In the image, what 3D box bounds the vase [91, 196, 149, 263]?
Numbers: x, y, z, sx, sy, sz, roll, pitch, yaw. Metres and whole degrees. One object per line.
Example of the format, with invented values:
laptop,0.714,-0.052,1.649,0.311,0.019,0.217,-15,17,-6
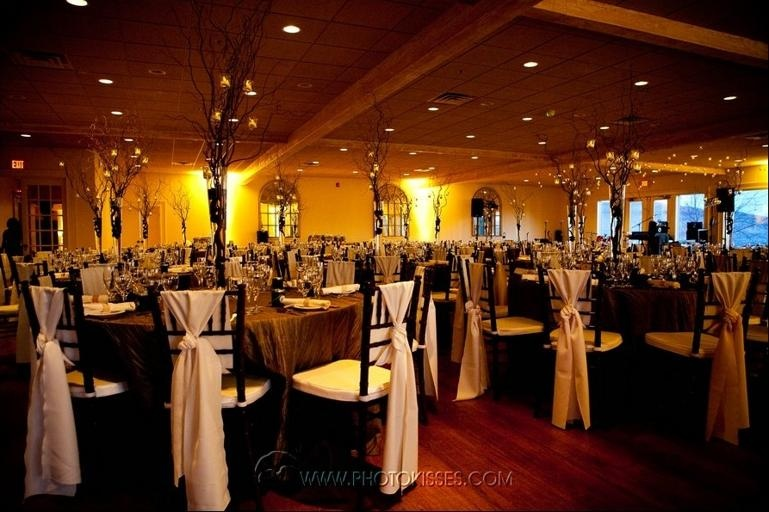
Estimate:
vase,-6.386,-0.670,12.731,0.820,0.768,1.952,12,0,-23
